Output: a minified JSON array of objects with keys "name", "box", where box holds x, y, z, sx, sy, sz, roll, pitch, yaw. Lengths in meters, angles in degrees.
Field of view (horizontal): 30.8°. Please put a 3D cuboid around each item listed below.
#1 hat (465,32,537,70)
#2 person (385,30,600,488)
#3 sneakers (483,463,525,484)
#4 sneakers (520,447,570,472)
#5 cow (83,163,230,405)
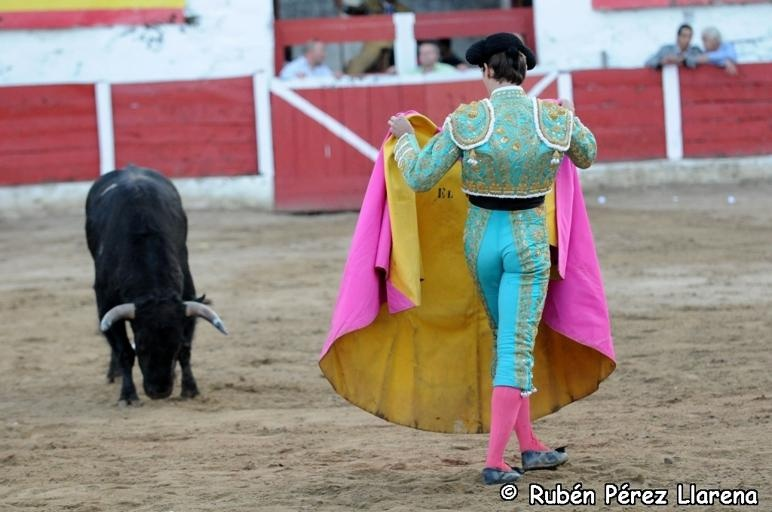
[{"name":"hat","box":[0.592,-1.134,7.643,0.363,0.159,0.202,8,22,-3]},{"name":"person","box":[0.685,-0.029,7.729,0.920,2.348,0.734,-15,20,-23]},{"name":"sneakers","box":[0.629,1.186,7.664,0.178,0.066,0.095,-2,7,-2]},{"name":"sneakers","box":[0.873,1.128,7.843,0.292,0.110,0.104,-6,13,-7]},{"name":"cow","box":[-1.511,0.128,8.715,0.615,1.026,1.896,-4,24,-12]}]
